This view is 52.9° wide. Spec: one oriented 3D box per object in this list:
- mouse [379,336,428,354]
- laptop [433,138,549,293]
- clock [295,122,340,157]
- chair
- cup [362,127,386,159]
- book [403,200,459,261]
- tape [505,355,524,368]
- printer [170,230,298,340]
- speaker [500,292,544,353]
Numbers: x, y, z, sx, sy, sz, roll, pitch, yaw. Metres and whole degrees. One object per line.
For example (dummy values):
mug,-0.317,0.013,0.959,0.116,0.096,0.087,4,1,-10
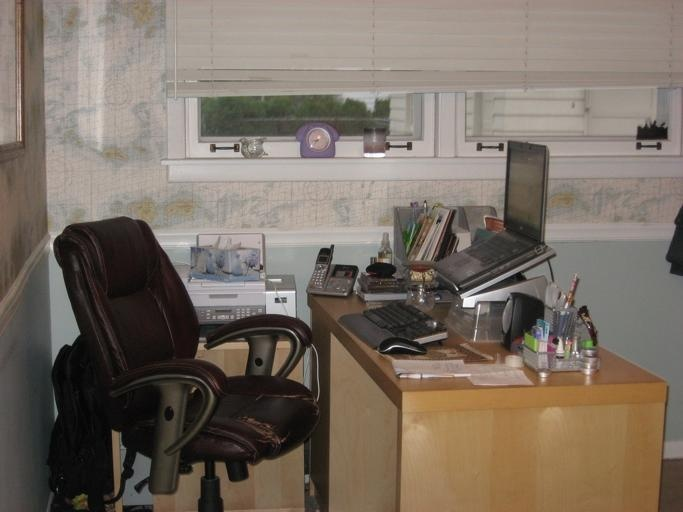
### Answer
mouse,0.215,0.297,2.396,0.119,0.038,0.074,-1,4,-8
laptop,0.603,-0.181,2.742,0.408,0.531,0.480,-4,12,-3
clock,-0.122,-0.589,3.477,0.273,0.238,0.146,0,0,-6
chair,-0.530,0.413,2.560,0.816,1.112,0.632,2,11,14
cup,0.173,-0.586,3.539,0.148,0.175,0.129,2,6,-1
book,0.424,-0.103,3.212,0.057,0.258,0.233,18,0,-34
tape,0.591,0.353,2.332,0.040,0.025,0.041,1,4,23
printer,-0.528,0.145,3.214,0.597,0.466,0.334,2,12,-7
speaker,0.651,0.236,2.521,0.101,0.184,0.123,8,-4,-11
